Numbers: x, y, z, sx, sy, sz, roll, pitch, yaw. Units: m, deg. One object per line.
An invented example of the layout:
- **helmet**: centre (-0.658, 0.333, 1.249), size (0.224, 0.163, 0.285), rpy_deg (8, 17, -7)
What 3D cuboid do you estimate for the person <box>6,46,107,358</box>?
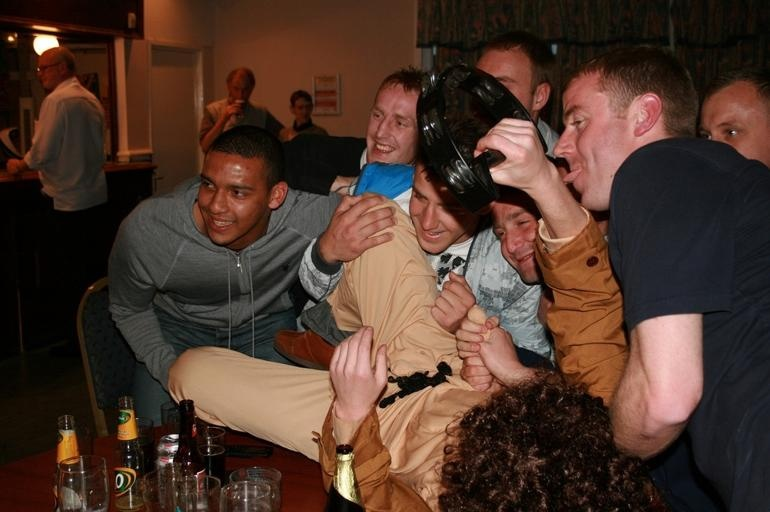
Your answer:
- **person**: centre (-2.741, -0.528, 5.545), size (0.622, 2.435, 0.823), rpy_deg (1, 10, -9)
